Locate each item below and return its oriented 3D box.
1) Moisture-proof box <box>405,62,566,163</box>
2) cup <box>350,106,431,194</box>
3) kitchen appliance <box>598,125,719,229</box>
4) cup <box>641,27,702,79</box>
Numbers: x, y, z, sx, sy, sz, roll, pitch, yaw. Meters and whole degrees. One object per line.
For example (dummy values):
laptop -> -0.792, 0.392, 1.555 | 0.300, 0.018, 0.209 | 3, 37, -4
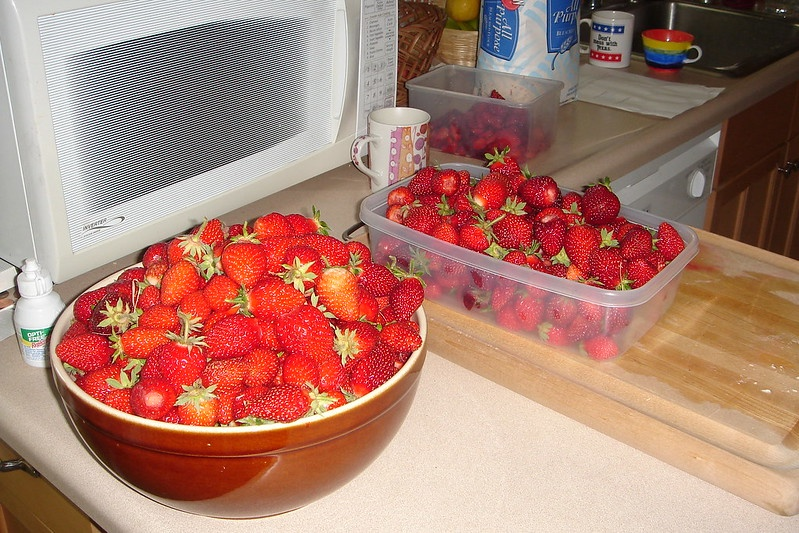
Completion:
Moisture-proof box -> 0.185, -0.344, 1.378 | 0.354, 0.159, 0.236 | 17, 42, 24
cup -> -0.030, -0.230, 1.192 | 0.109, 0.155, 0.178 | 19, 37, 30
kitchen appliance -> 0.589, -0.219, 1.320 | 0.186, 0.261, 0.173 | -34, 38, -31
cup -> 0.783, -0.652, 1.759 | 0.216, 0.107, 0.154 | 16, 33, 18
